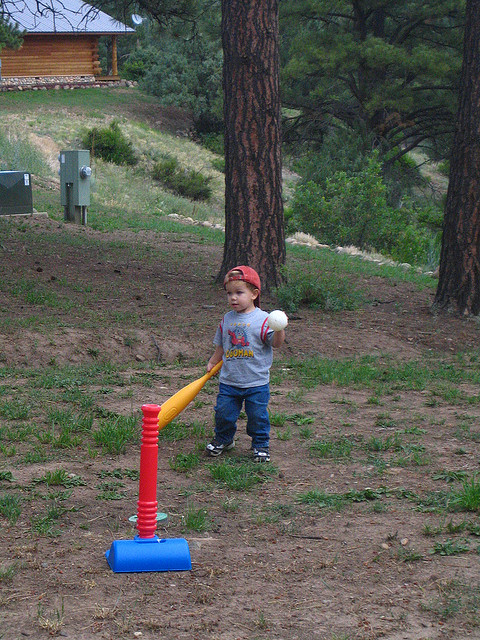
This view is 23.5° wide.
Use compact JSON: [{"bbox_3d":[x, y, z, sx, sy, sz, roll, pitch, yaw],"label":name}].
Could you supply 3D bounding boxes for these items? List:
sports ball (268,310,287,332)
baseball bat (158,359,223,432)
[{"bbox_3d":[0.238,-0.008,7.632,0.111,0.123,0.143,-12,33,23],"label":"sports ball"},{"bbox_3d":[-0.369,0.564,8.588,0.757,0.106,0.102,-43,-5,-37],"label":"baseball bat"}]
